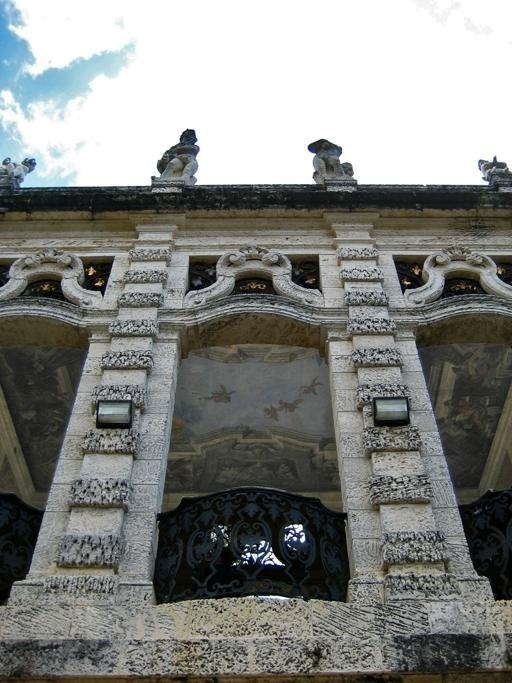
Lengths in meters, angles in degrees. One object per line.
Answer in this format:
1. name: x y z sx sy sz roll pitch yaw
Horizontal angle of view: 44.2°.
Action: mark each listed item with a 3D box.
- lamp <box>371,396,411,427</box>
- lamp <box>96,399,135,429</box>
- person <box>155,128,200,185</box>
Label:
1. lamp: 1.258 0.656 5.912 0.319 0.245 0.181 -1 -47 3
2. lamp: -1.271 0.663 5.916 0.365 0.291 0.241 3 -43 -2
3. person: -1.204 -2.882 9.940 0.697 1.261 0.472 6 -22 -3
